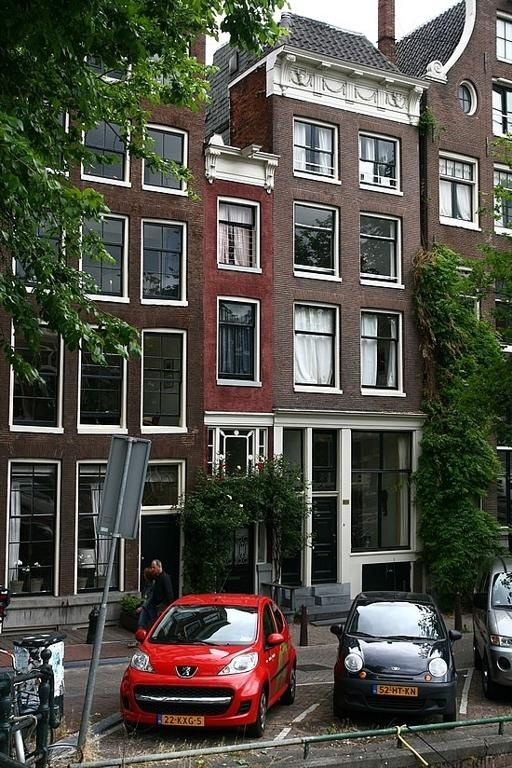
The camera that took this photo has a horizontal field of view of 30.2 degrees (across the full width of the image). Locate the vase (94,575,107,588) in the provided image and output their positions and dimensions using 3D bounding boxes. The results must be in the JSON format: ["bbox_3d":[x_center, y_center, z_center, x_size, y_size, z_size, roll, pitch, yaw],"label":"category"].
[{"bbox_3d":[-3.275,4.133,19.821,0.179,0.323,0.235,1,-9,-5],"label":"vase"}]

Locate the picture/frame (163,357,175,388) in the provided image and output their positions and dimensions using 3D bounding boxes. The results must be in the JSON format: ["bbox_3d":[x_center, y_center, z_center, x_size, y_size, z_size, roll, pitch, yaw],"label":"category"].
[{"bbox_3d":[-1.967,-0.232,21.363,0.240,0.653,0.034,5,-10,-29],"label":"picture/frame"}]

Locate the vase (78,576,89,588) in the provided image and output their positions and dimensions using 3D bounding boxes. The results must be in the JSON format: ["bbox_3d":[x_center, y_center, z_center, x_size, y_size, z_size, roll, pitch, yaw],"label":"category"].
[{"bbox_3d":[-3.579,4.088,19.605,0.184,0.169,0.190,2,-9,-7],"label":"vase"}]

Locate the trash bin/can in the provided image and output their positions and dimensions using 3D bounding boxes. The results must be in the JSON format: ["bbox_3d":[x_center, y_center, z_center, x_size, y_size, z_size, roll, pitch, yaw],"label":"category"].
[{"bbox_3d":[-2.342,3.188,10.194,0.526,0.931,0.526,-5,-5,29],"label":"trash bin/can"}]

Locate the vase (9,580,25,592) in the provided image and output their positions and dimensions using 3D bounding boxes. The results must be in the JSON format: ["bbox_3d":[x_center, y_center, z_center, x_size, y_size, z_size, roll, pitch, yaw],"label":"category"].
[{"bbox_3d":[-4.751,3.972,18.706,0.215,0.195,0.221,1,-10,-3],"label":"vase"}]
